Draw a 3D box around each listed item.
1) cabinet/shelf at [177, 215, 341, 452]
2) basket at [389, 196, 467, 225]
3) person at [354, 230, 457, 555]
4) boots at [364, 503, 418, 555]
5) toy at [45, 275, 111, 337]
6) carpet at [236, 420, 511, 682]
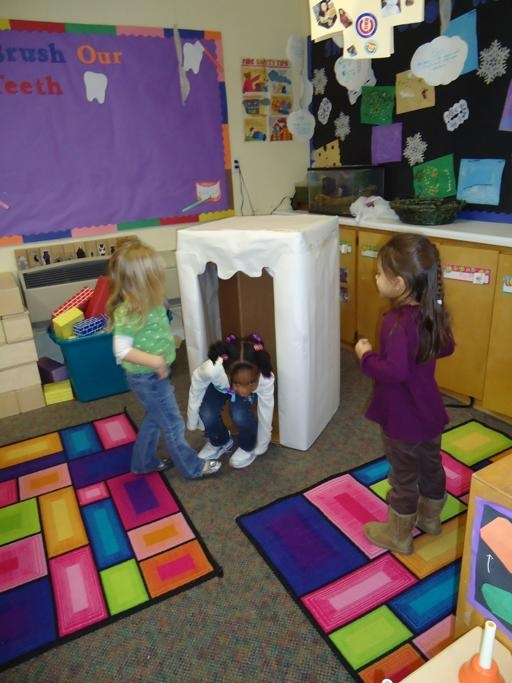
[{"bbox_3d":[0.047,-0.089,2.080,0.620,0.885,0.643,-1,21,4],"label":"cabinet/shelf"},{"bbox_3d":[0.861,-0.663,2.376,0.340,0.123,0.323,0,21,17],"label":"basket"},{"bbox_3d":[0.423,0.186,1.298,0.270,0.950,0.244,-3,20,10],"label":"person"},{"bbox_3d":[0.401,0.554,1.412,0.157,0.146,0.077,9,22,32],"label":"boots"},{"bbox_3d":[-0.945,-0.187,2.493,0.321,0.263,0.284,-20,24,-33],"label":"toy"},{"bbox_3d":[0.263,0.585,1.305,0.439,0.020,0.637,-2,13,38],"label":"carpet"}]
